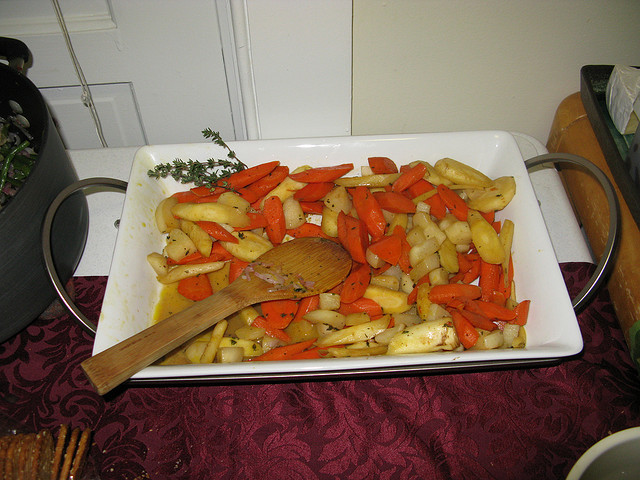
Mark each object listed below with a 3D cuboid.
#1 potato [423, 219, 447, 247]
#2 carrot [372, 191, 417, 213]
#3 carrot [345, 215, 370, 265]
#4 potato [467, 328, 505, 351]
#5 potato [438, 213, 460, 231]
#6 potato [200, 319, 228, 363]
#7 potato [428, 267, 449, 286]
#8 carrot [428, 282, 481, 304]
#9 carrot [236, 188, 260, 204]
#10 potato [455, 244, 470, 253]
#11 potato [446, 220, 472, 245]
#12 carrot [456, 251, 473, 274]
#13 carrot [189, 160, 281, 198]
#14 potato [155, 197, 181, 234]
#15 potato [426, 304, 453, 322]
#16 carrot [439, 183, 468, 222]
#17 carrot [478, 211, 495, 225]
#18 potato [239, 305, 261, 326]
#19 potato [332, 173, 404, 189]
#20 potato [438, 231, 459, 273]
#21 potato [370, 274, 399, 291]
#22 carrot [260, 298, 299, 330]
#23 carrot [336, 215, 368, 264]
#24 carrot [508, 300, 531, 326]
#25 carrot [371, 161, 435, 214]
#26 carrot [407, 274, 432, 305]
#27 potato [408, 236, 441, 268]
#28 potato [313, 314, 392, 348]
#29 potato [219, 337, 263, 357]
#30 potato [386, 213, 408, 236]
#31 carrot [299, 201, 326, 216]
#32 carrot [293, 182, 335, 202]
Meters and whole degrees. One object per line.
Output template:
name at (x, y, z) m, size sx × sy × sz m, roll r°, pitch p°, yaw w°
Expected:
potato at (0.221, -0.013, 0.903) m, size 0.048 × 0.013 × 0.033 m, roll 37°, pitch 89°, yaw 19°
carrot at (0.149, -0.067, 0.924) m, size 0.073 × 0.022 × 0.036 m, roll 22°, pitch 80°, yaw -3°
carrot at (0.062, 0.006, 0.885) m, size 0.019 × 0.056 × 0.072 m, roll -14°, pitch 50°, yaw 11°
potato at (0.286, 0.172, 0.809) m, size 0.051 × 0.021 × 0.035 m, roll -12°, pitch 62°, yaw 5°
potato at (0.251, -0.035, 0.925) m, size 0.032 × 0.012 × 0.032 m, roll -26°, pitch 50°, yaw -3°
potato at (-0.184, 0.179, 0.818) m, size 0.025 × 0.022 × 0.088 m, roll 29°, pitch 55°, yaw -14°
potato at (0.220, 0.068, 0.875) m, size 0.030 × 0.030 × 0.031 m, roll 0°, pitch 22°, yaw -6°
carrot at (0.241, 0.095, 0.848) m, size 0.083 × 0.040 × 0.030 m, roll -5°, pitch 49°, yaw 0°
carrot at (-0.146, -0.086, 0.962) m, size 0.040 × 0.021 × 0.020 m, roll 27°, pitch 33°, yaw 1°
potato at (0.278, 0.016, 0.916) m, size 0.020 × 0.019 × 0.011 m, roll 4°, pitch 77°, yaw -10°
potato at (0.267, -0.012, 0.902) m, size 0.044 × 0.020 × 0.043 m, roll -36°, pitch 88°, yaw 2°
carrot at (0.275, 0.046, 0.900) m, size 0.025 × 0.015 × 0.043 m, roll -18°, pitch 58°, yaw -20°
carrot at (-0.169, -0.119, 0.939) m, size 0.126 × 0.019 × 0.029 m, roll -23°, pitch 50°, yaw -12°
potato at (-0.301, -0.047, 0.933) m, size 0.049 × 0.018 × 0.066 m, roll -8°, pitch 89°, yaw 10°
potato at (0.213, 0.128, 0.832) m, size 0.032 × 0.012 × 0.033 m, roll -4°, pitch 71°, yaw -6°
carrot at (0.264, -0.073, 0.929) m, size 0.038 × 0.015 × 0.073 m, roll -30°, pitch 79°, yaw -39°
carrot at (0.333, -0.042, 0.923) m, size 0.021 × 0.005 × 0.028 m, roll 19°, pitch 78°, yaw -15°
potato at (-0.129, 0.137, 0.861) m, size 0.033 × 0.013 × 0.037 m, roll -21°, pitch 76°, yaw -19°
potato at (0.096, -0.116, 0.939) m, size 0.137 × 0.028 × 0.025 m, roll -6°, pitch 25°, yaw 6°
potato at (0.246, 0.020, 0.885) m, size 0.036 × 0.015 × 0.058 m, roll 0°, pitch 75°, yaw -5°
potato at (0.126, 0.079, 0.881) m, size 0.044 × 0.016 × 0.026 m, roll 4°, pitch 75°, yaw 5°
carrot at (-0.068, 0.137, 0.851) m, size 0.075 × 0.018 × 0.090 m, roll -12°, pitch 14°, yaw -14°
carrot at (0.062, -0.002, 0.907) m, size 0.027 × 0.068 × 0.085 m, roll -12°, pitch 55°, yaw -30°
carrot at (0.356, 0.130, 0.830) m, size 0.011 × 0.031 × 0.048 m, roll 24°, pitch 94°, yaw -12°
carrot at (0.171, -0.100, 0.978) m, size 0.097 × 0.045 × 0.114 m, roll 38°, pitch 92°, yaw -2°
carrot at (0.183, 0.093, 0.863) m, size 0.013 × 0.015 × 0.058 m, roll 35°, pitch 64°, yaw -4°
potato at (0.195, 0.020, 0.893) m, size 0.065 × 0.016 × 0.034 m, roll -29°, pitch 71°, yaw -12°
potato at (0.061, 0.161, 0.831) m, size 0.095 × 0.017 × 0.023 m, roll -21°, pitch 59°, yaw -4°
potato at (-0.136, 0.193, 0.835) m, size 0.063 × 0.019 × 0.035 m, roll 7°, pitch 45°, yaw -12°
potato at (0.154, -0.032, 0.928) m, size 0.031 × 0.015 × 0.049 m, roll 41°, pitch 81°, yaw 21°
carrot at (-0.014, -0.066, 0.964) m, size 0.047 × 0.012 × 0.024 m, roll 3°, pitch 90°, yaw -8°
carrot at (-0.013, -0.097, 0.948) m, size 0.064 × 0.020 × 0.036 m, roll -38°, pitch 60°, yaw -3°
